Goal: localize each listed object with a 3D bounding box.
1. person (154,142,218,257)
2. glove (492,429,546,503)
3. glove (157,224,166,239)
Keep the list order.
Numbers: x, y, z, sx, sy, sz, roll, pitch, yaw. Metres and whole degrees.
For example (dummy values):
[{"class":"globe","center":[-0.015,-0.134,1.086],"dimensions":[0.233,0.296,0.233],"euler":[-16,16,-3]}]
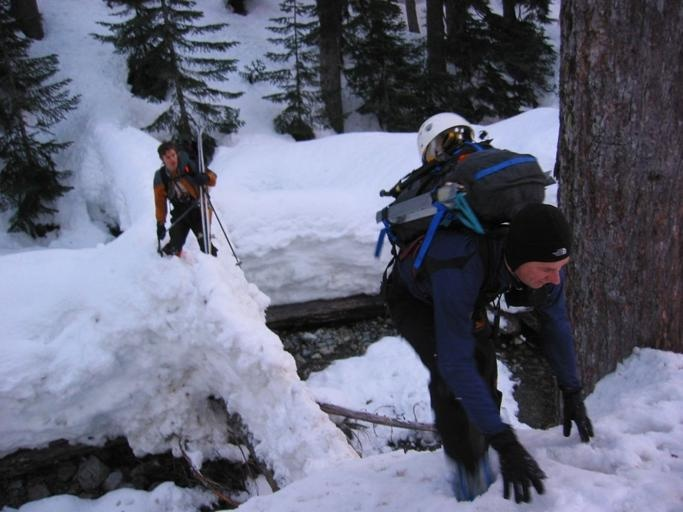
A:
[{"class":"person","center":[-2.895,-0.812,12.839],"dimensions":[1.092,2.673,1.000],"euler":[-8,13,-7]},{"class":"glove","center":[2.228,2.633,8.683],"dimensions":[0.707,0.930,0.418],"euler":[4,21,18]},{"class":"glove","center":[-3.246,-0.445,12.405],"dimensions":[0.153,0.253,0.211],"euler":[1,11,-1]}]
